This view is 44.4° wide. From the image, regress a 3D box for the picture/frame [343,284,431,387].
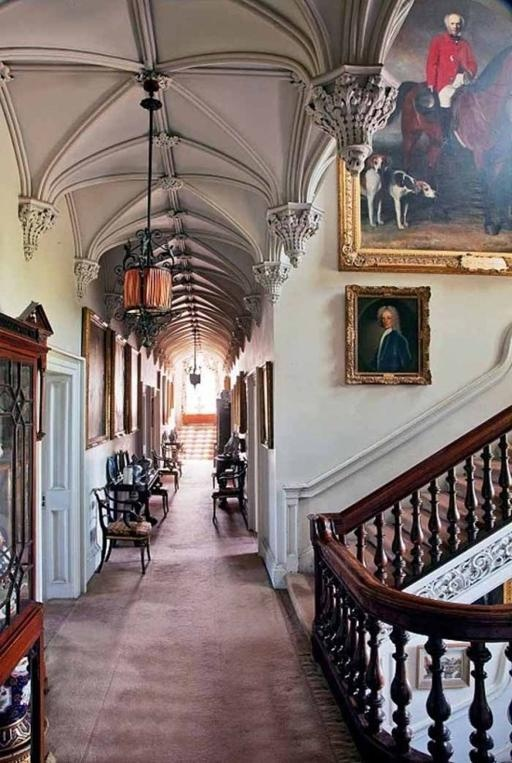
[{"bbox_3d":[1.398,-0.474,6.902,1.064,1.281,0.102,0,-2,-4],"label":"picture/frame"}]
